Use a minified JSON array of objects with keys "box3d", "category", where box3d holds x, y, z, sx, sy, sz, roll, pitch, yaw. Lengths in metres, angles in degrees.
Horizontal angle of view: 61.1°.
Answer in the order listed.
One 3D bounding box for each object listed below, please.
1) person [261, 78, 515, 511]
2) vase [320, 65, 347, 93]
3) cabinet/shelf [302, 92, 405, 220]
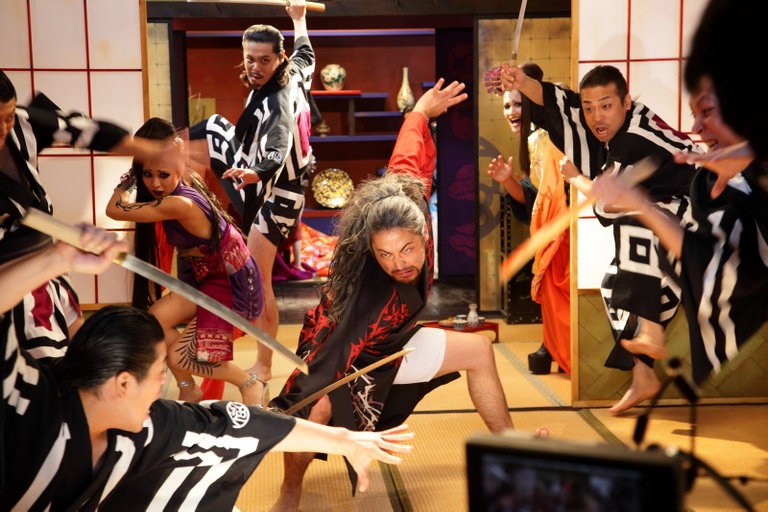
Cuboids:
[{"box3d":[-0.059,0.090,3.231,1.284,1.802,1.150,1,13,24],"category":"person"},{"box3d":[-0.541,-1.902,6.999,0.272,0.268,0.280,-11,30,-13],"category":"vase"},{"box3d":[-0.270,-1.196,7.048,1.200,1.135,0.377,3,23,13],"category":"cabinet/shelf"}]
